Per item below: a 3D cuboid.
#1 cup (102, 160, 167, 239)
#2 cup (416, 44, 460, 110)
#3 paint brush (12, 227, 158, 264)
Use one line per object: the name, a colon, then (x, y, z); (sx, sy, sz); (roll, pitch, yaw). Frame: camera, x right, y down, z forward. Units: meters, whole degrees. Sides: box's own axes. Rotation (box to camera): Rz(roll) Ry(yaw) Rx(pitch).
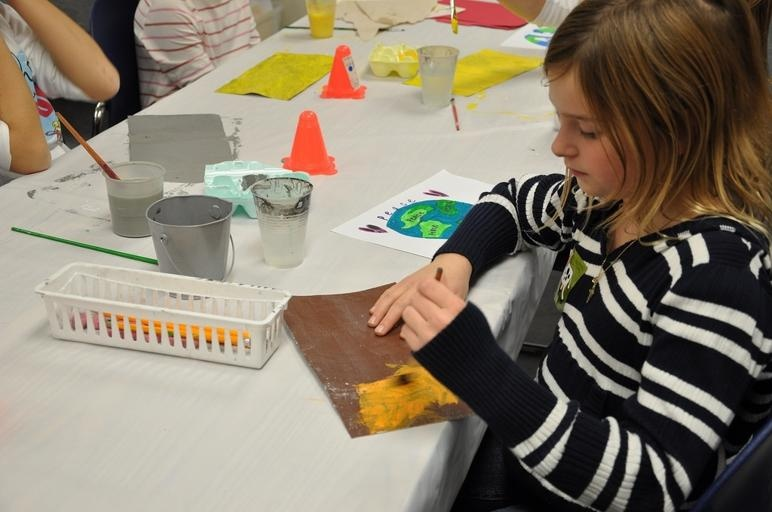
cup: (-0.552, -0.133, 1.433); (0.152, 0.165, 0.160); (4, 34, -3)
cup: (0.142, -0.573, 1.989); (0.169, 0.208, 0.173); (1, 32, 0)
paint brush: (-0.650, -0.021, 1.314); (0.296, 0.012, 0.012); (14, 6, 5)
